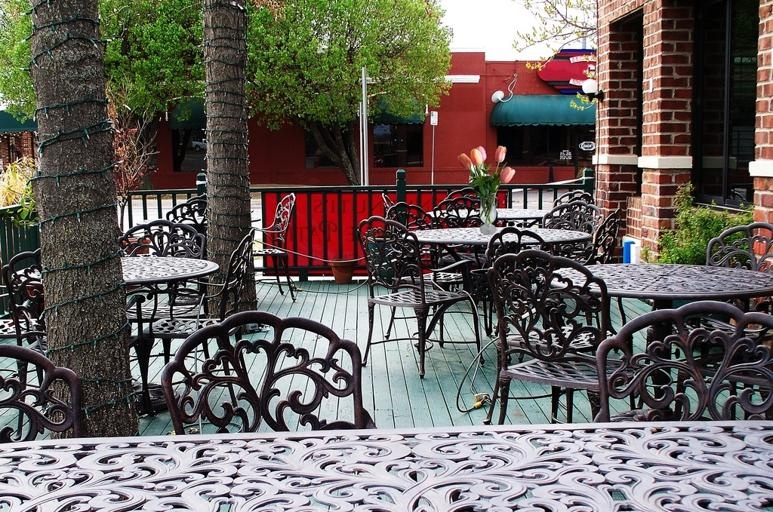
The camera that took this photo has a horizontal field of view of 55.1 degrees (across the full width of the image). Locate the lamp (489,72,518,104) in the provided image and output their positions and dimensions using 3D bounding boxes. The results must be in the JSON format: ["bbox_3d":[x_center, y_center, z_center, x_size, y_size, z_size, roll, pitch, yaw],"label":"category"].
[{"bbox_3d":[4.289,-6.152,26.933,1.049,1.090,0.426,-1,12,-1],"label":"lamp"}]
